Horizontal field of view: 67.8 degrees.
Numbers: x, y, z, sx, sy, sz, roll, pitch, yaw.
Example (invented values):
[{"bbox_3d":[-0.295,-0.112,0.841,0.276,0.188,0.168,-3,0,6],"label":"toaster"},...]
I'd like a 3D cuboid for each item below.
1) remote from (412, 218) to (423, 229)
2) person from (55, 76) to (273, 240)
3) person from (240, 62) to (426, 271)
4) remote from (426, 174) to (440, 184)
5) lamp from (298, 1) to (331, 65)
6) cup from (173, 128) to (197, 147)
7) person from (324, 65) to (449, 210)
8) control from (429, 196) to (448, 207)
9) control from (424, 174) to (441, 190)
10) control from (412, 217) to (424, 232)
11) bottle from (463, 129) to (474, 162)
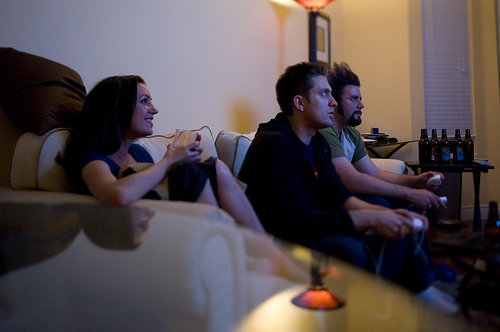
[{"bbox_3d":[0.503,0.172,1.111,0.015,0.029,0.040,-6,9,-32],"label":"remote"},{"bbox_3d":[-0.267,-0.001,1.373,0.801,0.589,0.430,6,10,5],"label":"person"},{"bbox_3d":[0.304,0.143,1.434,0.648,1.021,0.349,5,14,29],"label":"person"},{"bbox_3d":[0.769,0.053,1.553,0.048,0.017,0.035,-23,6,-7],"label":"remote"},{"bbox_3d":[0.582,-1.193,3.420,0.259,0.515,0.380,-1,7,6],"label":"lamp"},{"bbox_3d":[-0.254,-0.105,1.429,0.060,0.060,0.077,15,-15,5],"label":"cup"},{"bbox_3d":[0.689,-0.115,2.048,0.767,0.823,0.440,-5,2,39],"label":"person"},{"bbox_3d":[0.763,0.148,1.511,0.037,0.025,0.025,-26,43,4],"label":"control"},{"bbox_3d":[0.775,0.061,1.550,0.060,0.044,0.052,-1,8,1],"label":"control"},{"bbox_3d":[0.503,0.173,1.109,0.016,0.032,0.030,1,-14,-37],"label":"control"},{"bbox_3d":[1.798,-0.164,3.046,0.078,0.251,0.191,3,9,30],"label":"bottle"}]
